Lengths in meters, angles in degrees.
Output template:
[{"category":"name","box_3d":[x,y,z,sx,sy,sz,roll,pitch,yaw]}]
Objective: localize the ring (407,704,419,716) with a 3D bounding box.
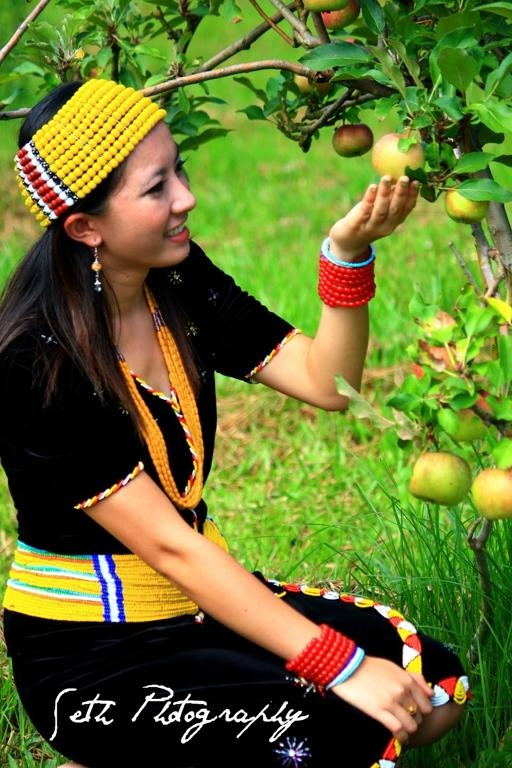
[{"category":"ring","box_3d":[0.261,0.553,1.174,0.016,0.023,0.024,18,-12,15]}]

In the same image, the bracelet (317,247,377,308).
[{"category":"bracelet","box_3d":[0.168,-0.224,1.447,0.130,0.099,0.116,-1,19,-5]}]

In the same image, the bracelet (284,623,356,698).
[{"category":"bracelet","box_3d":[0.101,0.456,1.170,0.093,0.055,0.119,-40,1,-2]}]
